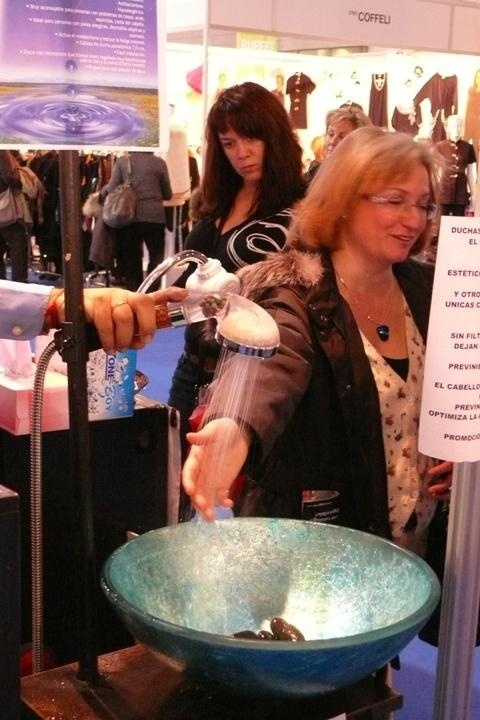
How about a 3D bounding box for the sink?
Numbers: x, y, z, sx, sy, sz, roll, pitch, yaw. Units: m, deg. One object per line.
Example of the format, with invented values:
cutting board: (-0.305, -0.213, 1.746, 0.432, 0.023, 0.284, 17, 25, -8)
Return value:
sink: (0.032, 0.266, 0.664, 0.259, 0.088, 0.262, 0, 4, -17)
